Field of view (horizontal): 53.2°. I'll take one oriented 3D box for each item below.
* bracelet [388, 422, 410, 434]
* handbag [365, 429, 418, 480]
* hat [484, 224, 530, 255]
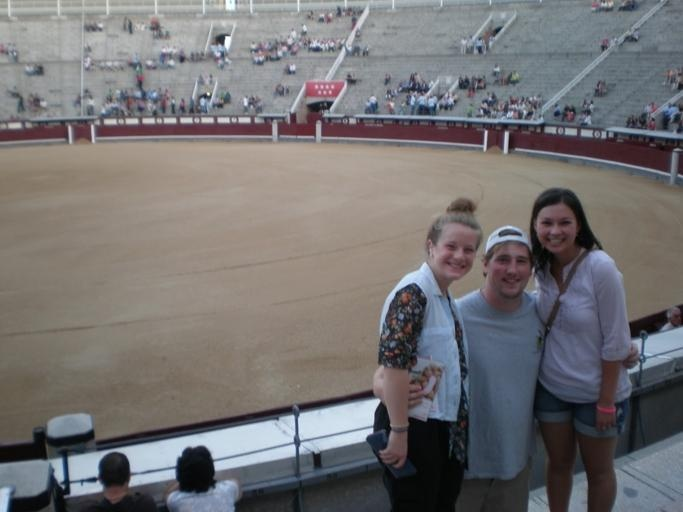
[{"bbox_3d":[0.391,1.163,4.613,0.105,0.062,0.028,-1,10,-4],"label":"bracelet"},{"bbox_3d":[0.323,1.368,4.684,0.248,0.092,0.348,-13,55,-33],"label":"handbag"},{"bbox_3d":[1.245,-0.125,5.084,0.317,0.197,0.341,3,11,17],"label":"hat"}]
